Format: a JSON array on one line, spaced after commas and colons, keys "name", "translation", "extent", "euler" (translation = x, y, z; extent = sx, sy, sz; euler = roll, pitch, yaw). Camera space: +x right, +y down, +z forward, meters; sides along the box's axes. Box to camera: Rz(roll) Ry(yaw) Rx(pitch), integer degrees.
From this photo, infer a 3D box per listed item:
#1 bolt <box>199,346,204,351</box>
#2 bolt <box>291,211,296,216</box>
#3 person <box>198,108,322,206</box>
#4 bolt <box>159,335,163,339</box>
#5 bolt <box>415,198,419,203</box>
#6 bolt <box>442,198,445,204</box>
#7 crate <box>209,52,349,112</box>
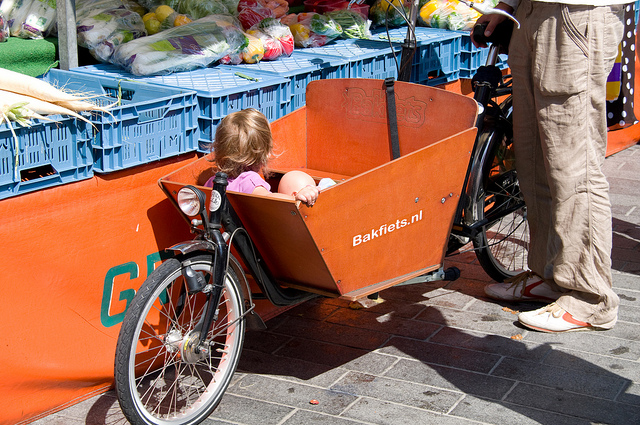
[{"name": "bolt", "translation": [-0.622, 0.709, 2.913], "extent": [0.014, 0.017, 0.020], "euler": [-3, 2, 29]}, {"name": "bolt", "translation": [-0.135, 0.001, 2.810], "extent": [0.016, 0.013, 0.023], "euler": [-13, -21, 19]}, {"name": "person", "translation": [-0.485, -0.333, 3.334], "extent": [0.480, 0.543, 1.187], "euler": [-17, 23, -30]}, {"name": "bolt", "translation": [-0.930, 0.721, 3.249], "extent": [0.024, 0.009, 0.023], "euler": [4, 19, 19]}, {"name": "bolt", "translation": [0.556, -0.073, 3.195], "extent": [0.023, 0.020, 0.005], "euler": [-2, 11, -38]}, {"name": "bolt", "translation": [0.734, -0.075, 3.324], "extent": [0.024, 0.030, 0.004], "euler": [-27, 42, -25]}, {"name": "crate", "translation": [-0.296, -0.913, 3.953], "extent": [0.642, 0.276, 0.418], "euler": [-22, 51, -15]}]
